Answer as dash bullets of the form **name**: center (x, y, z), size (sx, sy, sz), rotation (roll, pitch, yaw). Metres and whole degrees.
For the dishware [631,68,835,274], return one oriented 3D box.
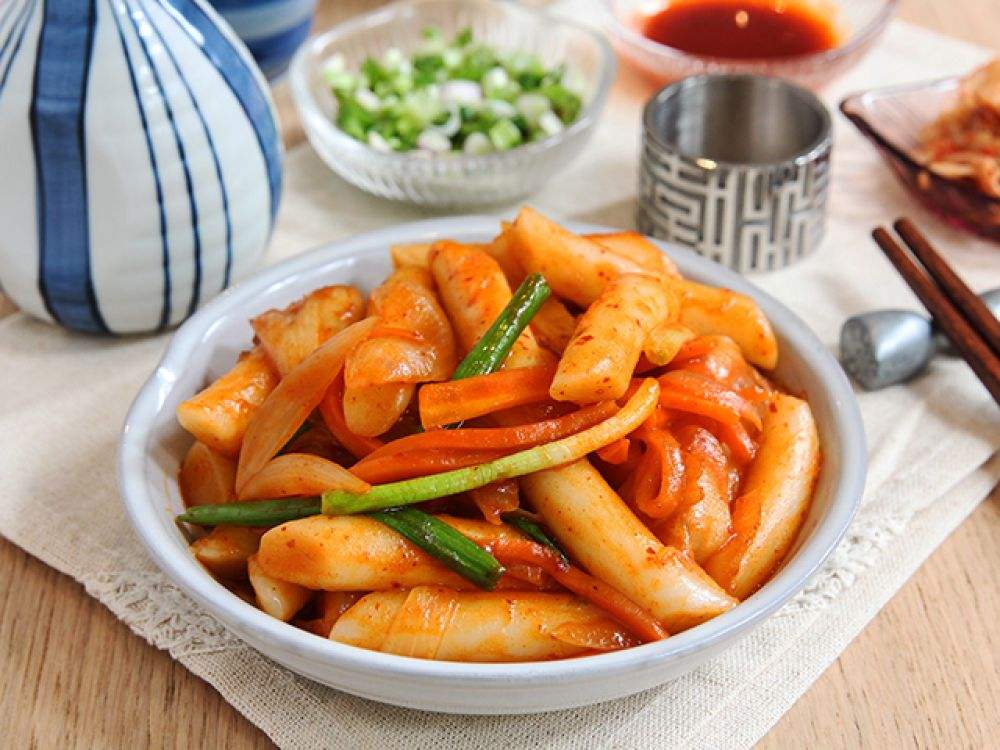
- **dishware**: center (0.415, -0.358, 1.612), size (0.309, 0.221, 0.300), rotation (-29, 50, -19)

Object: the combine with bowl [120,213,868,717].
- **combine with bowl**: center (-0.013, 0.075, 1.187), size (0.915, 0.179, 0.717), rotation (8, 53, 8)
